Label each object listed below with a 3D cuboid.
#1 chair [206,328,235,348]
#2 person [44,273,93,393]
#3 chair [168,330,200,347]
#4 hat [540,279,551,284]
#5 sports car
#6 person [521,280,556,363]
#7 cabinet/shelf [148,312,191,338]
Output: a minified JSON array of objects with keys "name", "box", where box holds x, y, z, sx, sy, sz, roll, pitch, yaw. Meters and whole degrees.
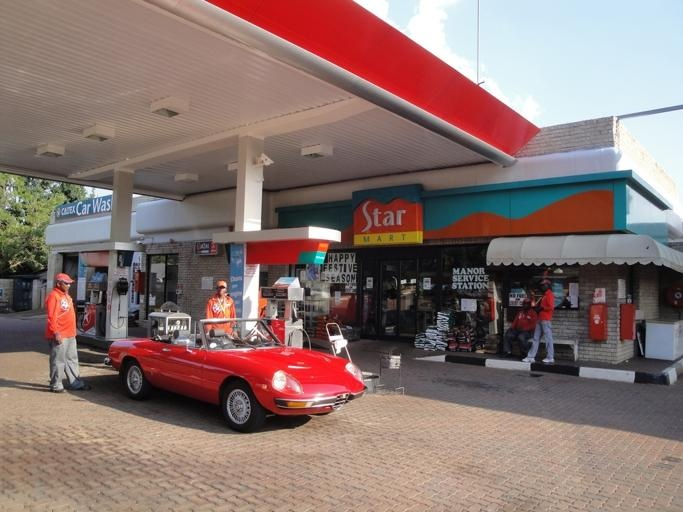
[{"name":"chair","box":[-1.959,1.362,7.377,0.297,0.376,0.126,17,-41,-28]},{"name":"person","box":[-5.071,1.422,8.515,0.407,1.872,0.645,1,-2,34]},{"name":"chair","box":[-2.565,1.362,7.570,0.353,0.277,0.330,3,-11,-12]},{"name":"hat","box":[5.490,0.701,12.485,0.230,0.070,0.229,0,0,-7]},{"name":"sports car","box":[-1.868,1.781,7.866,4.647,1.000,1.794,1,-2,35]},{"name":"person","box":[5.227,1.703,12.162,0.637,2.064,1.069,1,-2,24]},{"name":"cabinet/shelf","box":[-3.032,1.223,8.241,0.648,0.541,0.392,0,-1,39]}]
